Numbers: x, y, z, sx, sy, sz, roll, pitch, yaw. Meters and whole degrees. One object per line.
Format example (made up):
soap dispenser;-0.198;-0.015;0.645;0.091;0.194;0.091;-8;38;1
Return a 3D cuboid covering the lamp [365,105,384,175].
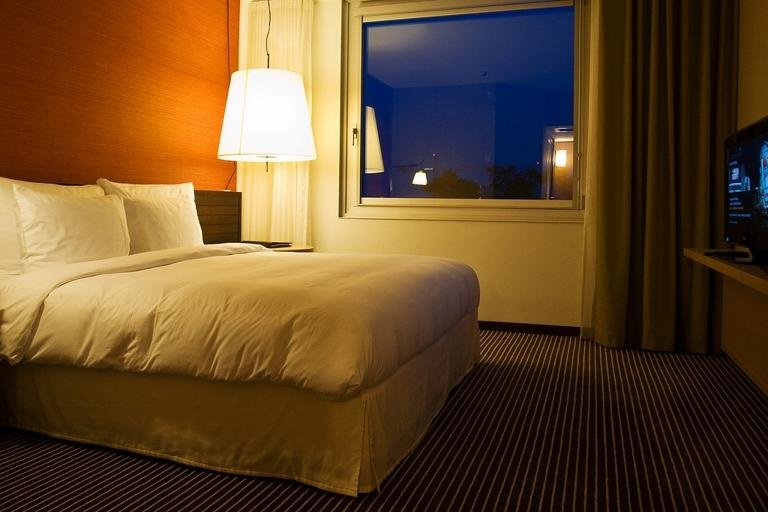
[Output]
lamp;-0.104;-1.163;5.329;0.193;0.647;0.124;1;12;3
